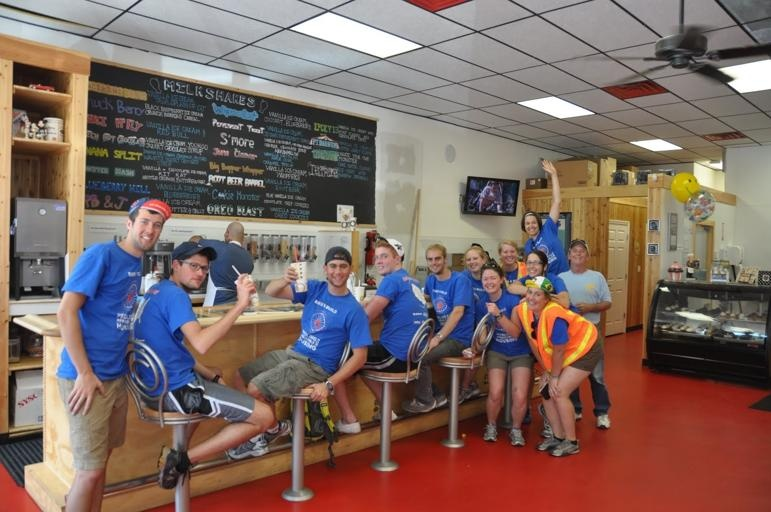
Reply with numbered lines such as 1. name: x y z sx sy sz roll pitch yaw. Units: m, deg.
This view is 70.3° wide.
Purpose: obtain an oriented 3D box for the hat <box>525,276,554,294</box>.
1. hat: 1.400 0.269 4.983 0.262 0.153 0.190 1 9 -2

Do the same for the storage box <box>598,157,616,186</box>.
1. storage box: 4.083 -1.555 10.079 0.242 0.497 0.562 6 10 28

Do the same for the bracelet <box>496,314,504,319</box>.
1. bracelet: 1.054 0.556 5.034 0.054 0.018 0.054 -26 -11 38

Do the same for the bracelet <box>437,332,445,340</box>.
1. bracelet: 0.520 0.734 5.027 0.060 0.044 0.061 3 2 31

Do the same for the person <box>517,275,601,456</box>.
1. person: 1.558 0.988 5.052 0.790 1.588 0.445 5 9 20

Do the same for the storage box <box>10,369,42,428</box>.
1. storage box: -3.452 1.373 5.278 0.265 0.485 0.284 -5 11 -35

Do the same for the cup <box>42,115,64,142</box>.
1. cup: -3.290 -1.246 5.446 0.250 0.244 0.238 1 -1 0

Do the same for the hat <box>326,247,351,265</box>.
1. hat: -0.370 -0.003 4.396 0.123 0.089 0.172 1 9 -2

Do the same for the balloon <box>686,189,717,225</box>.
1. balloon: 4.439 -0.708 7.689 0.344 0.401 0.223 3 9 7

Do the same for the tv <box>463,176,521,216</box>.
1. tv: 1.806 -1.024 9.392 1.133 0.672 0.225 -4 10 -31

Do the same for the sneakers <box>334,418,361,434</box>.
1. sneakers: -0.321 1.477 4.732 0.098 0.098 0.247 -1 -1 -43

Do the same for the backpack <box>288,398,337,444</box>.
1. backpack: -0.540 1.336 4.647 0.462 0.453 0.404 -2 -4 7

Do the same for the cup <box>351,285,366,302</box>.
1. cup: -0.240 0.369 5.394 0.117 0.137 0.142 5 12 18

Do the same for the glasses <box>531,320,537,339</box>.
1. glasses: 1.373 0.668 5.030 0.034 0.114 0.087 2 -5 4

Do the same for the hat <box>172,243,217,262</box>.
1. hat: -1.352 -0.036 3.897 0.227 0.112 0.144 -6 0 -2
